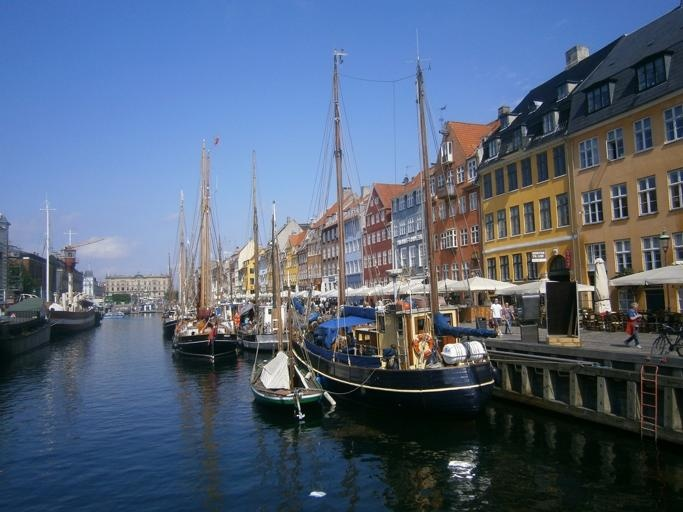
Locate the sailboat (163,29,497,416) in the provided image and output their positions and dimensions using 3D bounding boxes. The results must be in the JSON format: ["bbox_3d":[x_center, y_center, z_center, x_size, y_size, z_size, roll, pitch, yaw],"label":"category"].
[{"bbox_3d":[0.681,-1.527,30.417,8.265,18.515,14.770,-5,5,-26],"label":"sailboat"}]

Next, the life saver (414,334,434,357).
[{"bbox_3d":[3.811,4.110,28.384,0.742,0.969,0.754,-5,6,-26],"label":"life saver"}]

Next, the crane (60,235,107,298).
[{"bbox_3d":[-83.486,6.838,194.977,8.758,21.951,4.951,1,-3,-38],"label":"crane"}]
